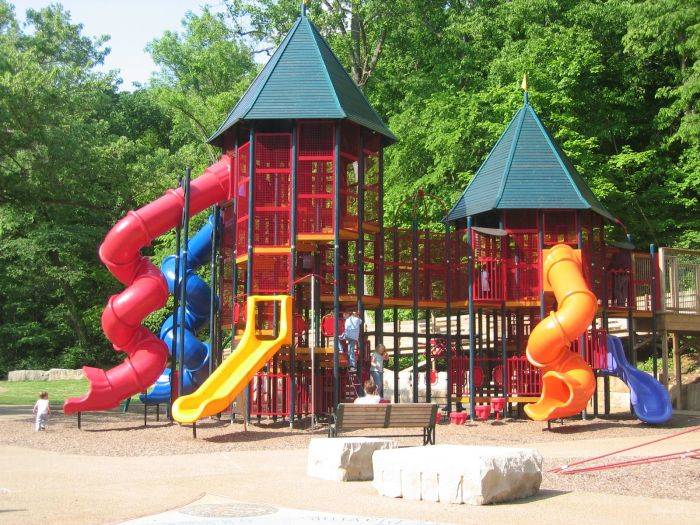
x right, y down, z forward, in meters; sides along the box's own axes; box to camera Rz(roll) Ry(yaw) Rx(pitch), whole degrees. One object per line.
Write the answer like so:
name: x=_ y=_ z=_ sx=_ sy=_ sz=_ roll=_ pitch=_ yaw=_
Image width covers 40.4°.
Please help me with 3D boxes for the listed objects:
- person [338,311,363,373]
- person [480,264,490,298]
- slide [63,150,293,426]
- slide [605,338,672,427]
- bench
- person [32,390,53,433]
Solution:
person: x=0.020 y=2.145 z=26.329 sx=0.618 sy=1.586 sz=0.499 roll=-1 pitch=-10 yaw=-2
person: x=4.051 y=0.493 z=28.400 sx=0.254 sy=0.987 sz=0.361 roll=-3 pitch=-10 yaw=10
slide: x=-5.479 y=0.505 z=26.925 sx=6.498 sy=8.516 sz=6.675 roll=-5 pitch=0 yaw=-14
slide: x=8.376 y=3.535 z=27.439 sx=0.991 sy=1.549 sz=3.764 roll=-6 pitch=26 yaw=-1
bench: x=0.651 y=3.684 z=21.725 sx=2.406 sy=0.928 sz=2.926 roll=0 pitch=-12 yaw=-8
person: x=-8.437 y=4.021 z=25.897 sx=0.364 sy=1.108 sz=1.246 roll=2 pitch=-12 yaw=-19
